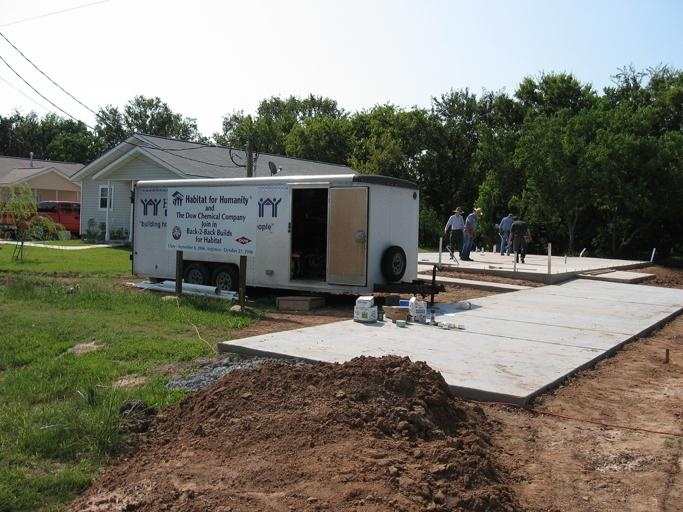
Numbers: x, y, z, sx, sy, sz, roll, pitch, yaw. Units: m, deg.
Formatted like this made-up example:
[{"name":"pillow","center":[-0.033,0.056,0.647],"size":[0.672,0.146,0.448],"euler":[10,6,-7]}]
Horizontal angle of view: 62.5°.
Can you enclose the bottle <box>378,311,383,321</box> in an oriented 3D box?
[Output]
[{"name":"bottle","center":[0.759,1.125,10.767],"size":[0.101,0.202,0.287],"euler":[0,13,5]}]

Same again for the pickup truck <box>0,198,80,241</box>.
[{"name":"pickup truck","center":[-16.659,-2.403,31.325],"size":[2.543,2.486,4.839],"euler":[2,3,32]}]
